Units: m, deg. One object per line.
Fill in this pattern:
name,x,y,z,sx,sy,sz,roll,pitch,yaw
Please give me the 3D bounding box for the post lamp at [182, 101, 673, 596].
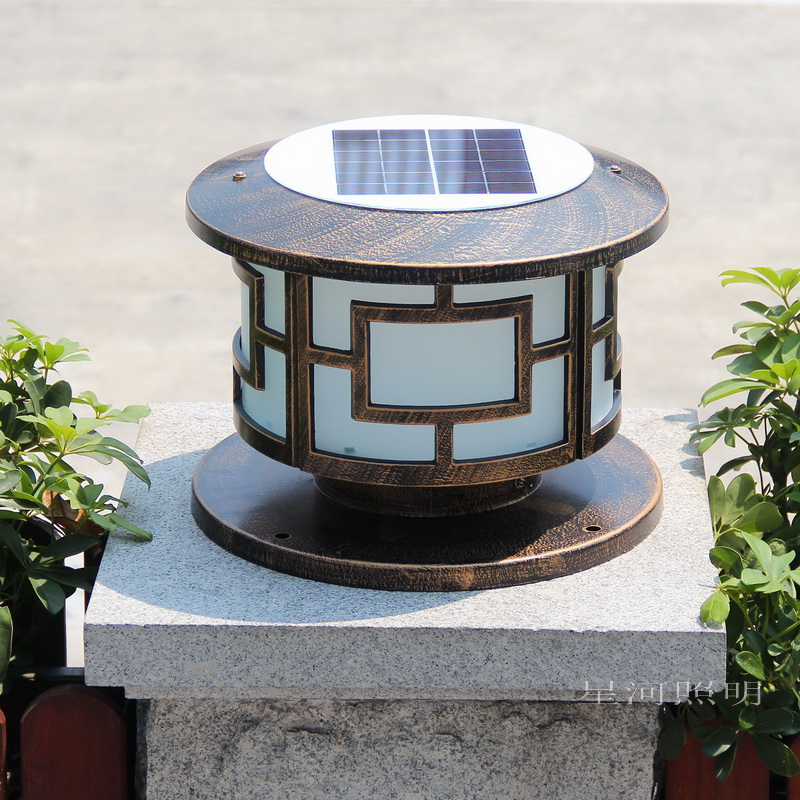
post lamp,0.065,-0.242,5.487,1.807,1.053,1.616,-1,21,-2
